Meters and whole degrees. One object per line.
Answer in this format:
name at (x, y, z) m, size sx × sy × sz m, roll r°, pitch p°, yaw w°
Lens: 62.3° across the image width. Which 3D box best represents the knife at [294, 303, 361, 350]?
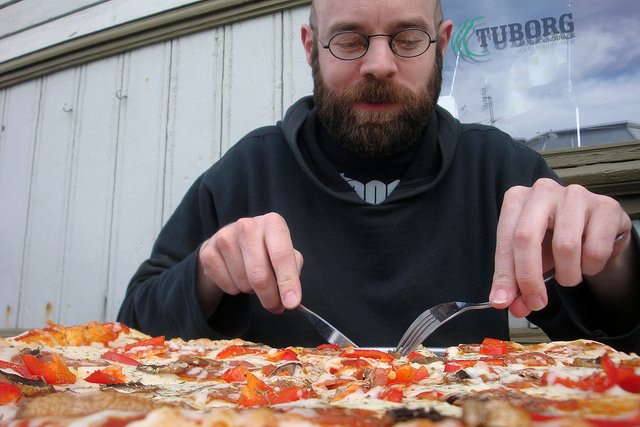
knife at (0.047, 0.576, 3.012) m, size 0.390 × 0.257 × 0.246 m, roll -3°, pitch 6°, yaw 5°
